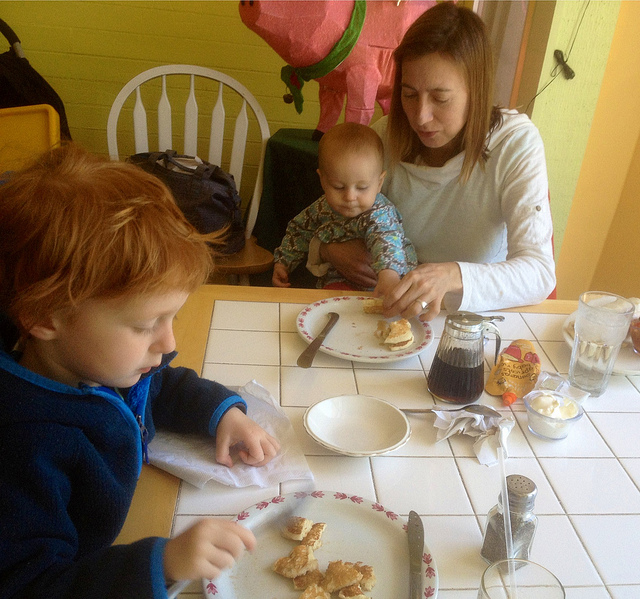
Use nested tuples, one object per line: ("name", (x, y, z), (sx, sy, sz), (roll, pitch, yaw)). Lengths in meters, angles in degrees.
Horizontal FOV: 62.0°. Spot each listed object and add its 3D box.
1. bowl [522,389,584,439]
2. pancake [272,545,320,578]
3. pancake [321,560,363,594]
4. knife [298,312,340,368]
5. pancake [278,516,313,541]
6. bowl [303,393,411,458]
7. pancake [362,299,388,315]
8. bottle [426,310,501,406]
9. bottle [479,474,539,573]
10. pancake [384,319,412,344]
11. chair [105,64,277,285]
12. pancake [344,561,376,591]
("bowl", (0.400, 0.204, 0.923), (0.096, 0.054, 0.098), (-3, 17, 1))
("pancake", (-0.038, 0.302, 0.630), (0.033, 0.010, 0.035), (10, 29, 28))
("pancake", (0.024, 0.327, 0.638), (0.051, 0.018, 0.037), (-12, 39, -17))
("knife", (0.001, 0.078, 1.137), (0.038, 0.020, 0.294), (14, 19, 10))
("pancake", (-0.033, 0.294, 0.691), (0.026, 0.010, 0.029), (-3, 8, 2))
("bowl", (0.062, 0.210, 0.899), (0.102, 0.030, 0.109), (-1, 31, 0))
("pancake", (0.129, 0.016, 1.260), (0.036, 0.016, 0.037), (22, 32, 32))
("bottle", (0.237, 0.096, 0.993), (0.146, 0.184, 0.112), (1, 21, 5))
("bottle", (0.251, 0.305, 0.679), (0.063, 0.127, 0.067), (13, -8, 2))
("pancake", (0.160, 0.065, 1.123), (0.043, 0.016, 0.048), (-2, 37, 11))
("chair", (-0.602, -0.514, 2.606), (0.575, 0.949, 0.706), (2, 70, -17))
("pancake", (0.054, 0.328, 0.635), (0.024, 0.009, 0.026), (4, 13, 9))
